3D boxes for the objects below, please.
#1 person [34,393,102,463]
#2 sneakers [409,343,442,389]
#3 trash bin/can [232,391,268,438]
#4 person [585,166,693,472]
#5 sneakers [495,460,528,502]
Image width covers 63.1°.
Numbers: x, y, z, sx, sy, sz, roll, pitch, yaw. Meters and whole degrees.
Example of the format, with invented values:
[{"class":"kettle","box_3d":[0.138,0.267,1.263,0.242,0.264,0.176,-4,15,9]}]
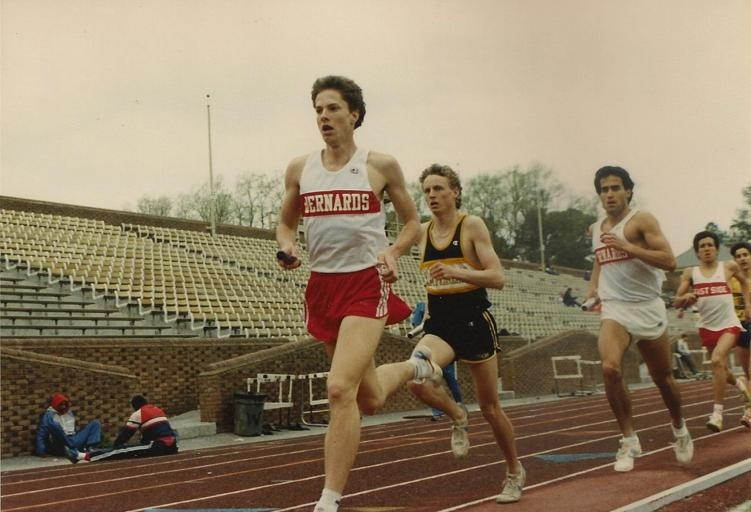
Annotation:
[{"class":"person","box_3d":[-5.005,2.827,10.253,0.944,0.995,1.385,3,-11,-40]},{"class":"sneakers","box_3d":[0.478,0.989,5.383,0.157,0.213,0.495,-13,-34,15]},{"class":"trash bin/can","box_3d":[-2.354,3.180,12.375,0.701,1.001,0.871,-9,-15,35]},{"class":"person","box_3d":[2.752,0.606,6.496,0.959,3.202,0.690,-5,-9,9]},{"class":"sneakers","box_3d":[1.228,2.027,5.477,0.180,0.294,0.378,-12,-12,43]}]
